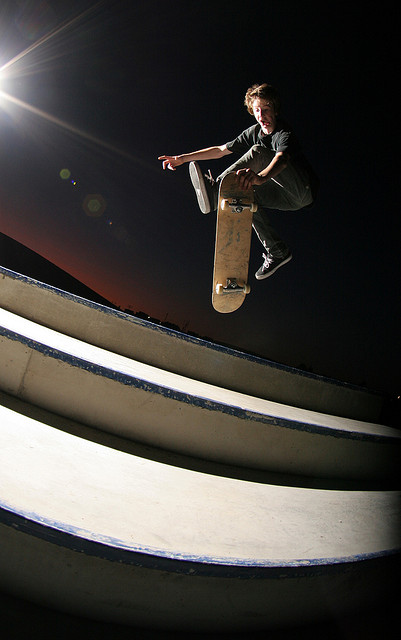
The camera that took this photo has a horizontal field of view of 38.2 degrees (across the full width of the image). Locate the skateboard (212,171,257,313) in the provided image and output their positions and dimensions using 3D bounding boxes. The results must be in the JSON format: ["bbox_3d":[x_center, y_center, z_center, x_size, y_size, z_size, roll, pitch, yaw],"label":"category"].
[{"bbox_3d":[0.269,-0.634,5.232,0.306,0.166,1.166,-3,-68,-12],"label":"skateboard"}]

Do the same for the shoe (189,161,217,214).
[{"bbox_3d":[0.032,-1.113,5.029,0.170,0.218,0.506,17,-54,52],"label":"shoe"}]

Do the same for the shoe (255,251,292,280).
[{"bbox_3d":[0.789,-0.566,6.113,0.397,0.131,0.170,-36,-46,23],"label":"shoe"}]
